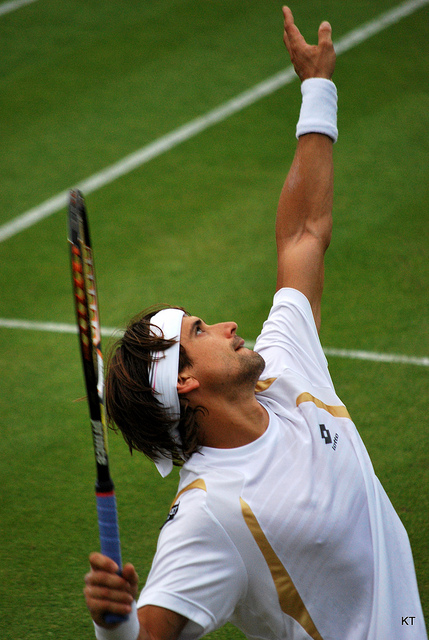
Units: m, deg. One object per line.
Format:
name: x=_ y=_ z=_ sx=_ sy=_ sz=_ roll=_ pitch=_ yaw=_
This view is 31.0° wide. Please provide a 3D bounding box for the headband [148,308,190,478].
headband: x=-0.178 y=0.265 z=2.982 sx=0.172 sy=0.518 sz=0.315 roll=3 pitch=-2 yaw=3
